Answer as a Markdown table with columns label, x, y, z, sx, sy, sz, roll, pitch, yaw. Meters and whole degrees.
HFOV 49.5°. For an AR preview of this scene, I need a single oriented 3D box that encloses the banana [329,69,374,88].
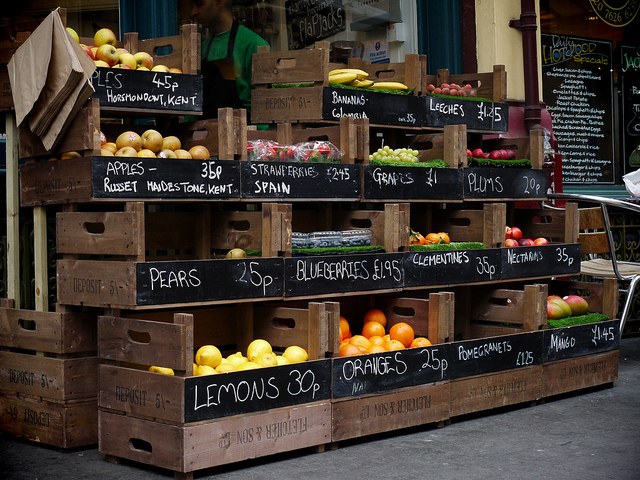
| label | x | y | z | sx | sy | sz | roll | pitch | yaw |
| --- | --- | --- | --- | --- | --- | --- | --- | --- | --- |
| banana | 0.242 | -1.235 | 5.366 | 0.289 | 0.118 | 0.152 | 5 | -1 | -11 |

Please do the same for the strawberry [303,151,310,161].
| label | x | y | z | sx | sy | sz | roll | pitch | yaw |
| --- | --- | --- | --- | --- | --- | --- | --- | --- | --- |
| strawberry | -0.095 | -0.584 | 4.876 | 0.043 | 0.069 | 0.025 | 3 | -1 | -9 |

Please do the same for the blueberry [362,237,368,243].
| label | x | y | z | sx | sy | sz | roll | pitch | yaw |
| --- | --- | --- | --- | --- | --- | --- | --- | --- | --- |
| blueberry | 0.321 | 0.003 | 4.995 | 0.027 | 0.027 | 0.039 | -5 | -4 | 36 |

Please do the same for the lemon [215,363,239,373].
| label | x | y | z | sx | sy | sz | roll | pitch | yaw |
| --- | --- | --- | --- | --- | --- | --- | --- | --- | --- |
| lemon | -0.574 | 0.784 | 4.238 | 0.065 | 0.049 | 0.078 | 2 | 2 | -35 |

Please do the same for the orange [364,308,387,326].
| label | x | y | z | sx | sy | sz | roll | pitch | yaw |
| --- | --- | --- | --- | --- | --- | --- | --- | --- | --- |
| orange | 0.432 | 0.613 | 5.448 | 0.125 | 0.165 | 0.128 | -6 | -6 | 44 |

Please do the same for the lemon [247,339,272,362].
| label | x | y | z | sx | sy | sz | roll | pitch | yaw |
| --- | --- | --- | --- | --- | --- | --- | --- | --- | --- |
| lemon | -0.397 | 0.709 | 4.445 | 0.100 | 0.118 | 0.136 | -4 | -8 | 0 |

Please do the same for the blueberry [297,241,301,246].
| label | x | y | z | sx | sy | sz | roll | pitch | yaw |
| --- | --- | --- | --- | --- | --- | --- | --- | --- | --- |
| blueberry | -0.145 | 0.029 | 4.755 | 0.022 | 0.024 | 0.014 | 2 | -1 | -23 |

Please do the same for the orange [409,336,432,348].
| label | x | y | z | sx | sy | sz | roll | pitch | yaw |
| --- | --- | --- | --- | --- | --- | --- | --- | --- | --- |
| orange | 0.711 | 0.727 | 4.945 | 0.083 | 0.093 | 0.088 | -13 | -6 | 22 |

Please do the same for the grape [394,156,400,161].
| label | x | y | z | sx | sy | sz | roll | pitch | yaw |
| --- | --- | --- | --- | --- | --- | --- | --- | --- | --- |
| grape | 0.601 | -0.629 | 5.405 | 0.028 | 0.037 | 0.029 | 16 | -38 | -36 |

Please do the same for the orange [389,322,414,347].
| label | x | y | z | sx | sy | sz | roll | pitch | yaw |
| --- | --- | --- | --- | --- | --- | --- | --- | --- | --- |
| orange | 0.607 | 0.675 | 5.077 | 0.146 | 0.197 | 0.152 | -8 | 1 | 26 |

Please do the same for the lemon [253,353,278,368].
| label | x | y | z | sx | sy | sz | roll | pitch | yaw |
| --- | --- | --- | --- | --- | --- | --- | --- | --- | --- |
| lemon | -0.338 | 0.748 | 4.328 | 0.070 | 0.055 | 0.085 | 3 | 1 | -34 |

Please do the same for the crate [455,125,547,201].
| label | x | y | z | sx | sy | sz | roll | pitch | yaw |
| --- | --- | --- | --- | --- | --- | --- | --- | --- | --- |
| crate | 1.426 | -0.658 | 6.009 | 1.283 | 0.650 | 0.669 | -3 | 4 | -44 |

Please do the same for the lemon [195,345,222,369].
| label | x | y | z | sx | sy | sz | roll | pitch | yaw |
| --- | --- | --- | --- | --- | --- | --- | --- | --- | --- |
| lemon | -0.684 | 0.725 | 4.305 | 0.125 | 0.142 | 0.129 | 0 | 2 | -4 |

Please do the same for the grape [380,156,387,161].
| label | x | y | z | sx | sy | sz | roll | pitch | yaw |
| --- | --- | --- | --- | --- | --- | --- | --- | --- | --- |
| grape | 0.490 | -0.624 | 5.352 | 0.041 | 0.037 | 0.033 | -9 | -4 | 38 |

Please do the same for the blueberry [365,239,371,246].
| label | x | y | z | sx | sy | sz | roll | pitch | yaw |
| --- | --- | --- | --- | --- | --- | --- | --- | --- | --- |
| blueberry | 0.347 | 0.024 | 5.017 | 0.030 | 0.023 | 0.034 | 1 | -4 | 1 |

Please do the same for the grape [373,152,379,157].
| label | x | y | z | sx | sy | sz | roll | pitch | yaw |
| --- | --- | --- | --- | --- | --- | --- | --- | --- | --- |
| grape | 0.432 | -0.662 | 5.418 | 0.029 | 0.041 | 0.031 | -1 | 1 | -8 |

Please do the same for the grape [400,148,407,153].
| label | x | y | z | sx | sy | sz | roll | pitch | yaw |
| --- | --- | --- | --- | --- | --- | --- | --- | --- | --- |
| grape | 0.655 | -0.705 | 5.477 | 0.037 | 0.051 | 0.039 | 1 | 1 | -25 |

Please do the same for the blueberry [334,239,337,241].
| label | x | y | z | sx | sy | sz | roll | pitch | yaw |
| --- | --- | --- | --- | --- | --- | --- | --- | --- | --- |
| blueberry | 0.109 | 0.004 | 4.879 | 0.021 | 0.009 | 0.006 | -1 | 3 | -24 |

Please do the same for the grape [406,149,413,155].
| label | x | y | z | sx | sy | sz | roll | pitch | yaw |
| --- | --- | --- | --- | --- | --- | --- | --- | --- | --- |
| grape | 0.704 | -0.696 | 5.481 | 0.031 | 0.026 | 0.043 | 1 | 14 | 23 |

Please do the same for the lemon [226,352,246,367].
| label | x | y | z | sx | sy | sz | roll | pitch | yaw |
| --- | --- | --- | --- | --- | --- | --- | --- | --- | --- |
| lemon | -0.535 | 0.764 | 4.434 | 0.069 | 0.083 | 0.071 | 2 | 2 | -16 |

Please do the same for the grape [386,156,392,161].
| label | x | y | z | sx | sy | sz | roll | pitch | yaw |
| --- | --- | --- | --- | --- | --- | --- | --- | --- | --- |
| grape | 0.530 | -0.624 | 5.363 | 0.032 | 0.044 | 0.034 | -3 | 1 | -13 |

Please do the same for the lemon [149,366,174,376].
| label | x | y | z | sx | sy | sz | roll | pitch | yaw |
| --- | --- | --- | --- | --- | --- | --- | --- | --- | --- |
| lemon | -0.958 | 0.788 | 4.182 | 0.101 | 0.064 | 0.081 | 15 | -1 | 31 |

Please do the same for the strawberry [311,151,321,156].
| label | x | y | z | sx | sy | sz | roll | pitch | yaw |
| --- | --- | --- | --- | --- | --- | --- | --- | --- | --- |
| strawberry | -0.031 | -0.606 | 4.885 | 0.030 | 0.014 | 0.041 | 4 | -18 | -15 |

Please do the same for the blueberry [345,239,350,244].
| label | x | y | z | sx | sy | sz | roll | pitch | yaw |
| --- | --- | --- | --- | --- | --- | --- | --- | --- | --- |
| blueberry | 0.191 | 0.010 | 4.921 | 0.041 | 0.023 | 0.012 | -2 | 3 | -41 |
